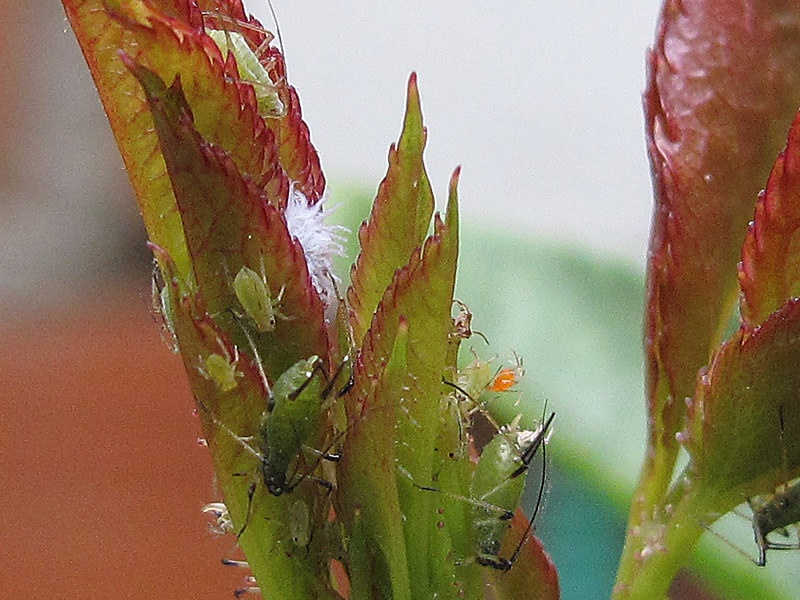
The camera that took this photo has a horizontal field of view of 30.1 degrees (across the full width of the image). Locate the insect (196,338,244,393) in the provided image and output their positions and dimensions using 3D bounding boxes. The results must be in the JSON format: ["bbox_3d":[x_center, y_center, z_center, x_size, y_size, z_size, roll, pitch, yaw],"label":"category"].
[{"bbox_3d":[-0.122,0.049,1.022,0.022,0.041,0.015,5,13,-1],"label":"insect"}]

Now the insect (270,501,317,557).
[{"bbox_3d":[-0.069,0.160,1.047,0.020,0.038,0.007,0,3,-34],"label":"insect"}]

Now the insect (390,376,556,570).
[{"bbox_3d":[0.063,0.121,1.115,0.032,0.142,0.110,2,-7,45],"label":"insect"}]

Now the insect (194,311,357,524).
[{"bbox_3d":[-0.085,0.090,1.036,0.096,0.141,0.067,9,-20,-8],"label":"insect"}]

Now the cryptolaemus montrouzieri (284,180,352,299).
[{"bbox_3d":[-0.054,-0.033,1.073,0.037,0.075,0.094,-1,-23,17],"label":"cryptolaemus montrouzieri"}]
